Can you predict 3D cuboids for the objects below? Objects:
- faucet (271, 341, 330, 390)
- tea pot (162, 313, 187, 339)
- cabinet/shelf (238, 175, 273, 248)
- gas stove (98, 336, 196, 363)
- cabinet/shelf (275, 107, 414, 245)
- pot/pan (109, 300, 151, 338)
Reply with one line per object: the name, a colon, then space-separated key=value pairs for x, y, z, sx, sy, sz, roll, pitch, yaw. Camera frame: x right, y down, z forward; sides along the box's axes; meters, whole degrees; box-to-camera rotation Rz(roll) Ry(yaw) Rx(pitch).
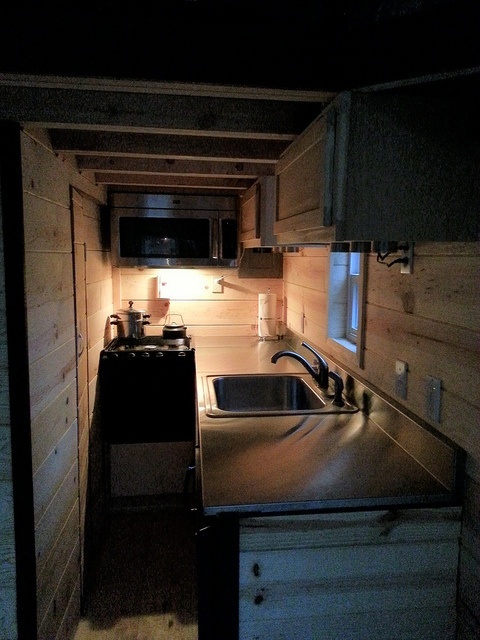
faucet: x=0.269 y=0.184 z=2.077 sx=0.213 sy=0.187 sz=0.477 roll=1 pitch=7 yaw=13
tea pot: x=-0.412 y=0.046 z=3.111 sx=0.135 sy=0.204 sz=0.161 roll=0 pitch=0 yaw=-5
cabinet/shelf: x=0.079 y=-0.606 z=2.735 sx=0.087 sy=0.400 sz=0.754 roll=8 pitch=13 yaw=4
gas stove: x=-0.541 y=0.155 z=2.975 sx=0.516 sy=0.066 sz=0.493 roll=-2 pitch=7 yaw=-8
cabinet/shelf: x=0.197 y=-0.329 z=1.241 sx=0.127 sy=0.279 sz=0.476 roll=-4 pitch=5 yaw=-13
pot/pan: x=-0.716 y=0.000 z=3.157 sx=0.240 sy=0.235 sz=0.217 roll=-1 pitch=6 yaw=-2
